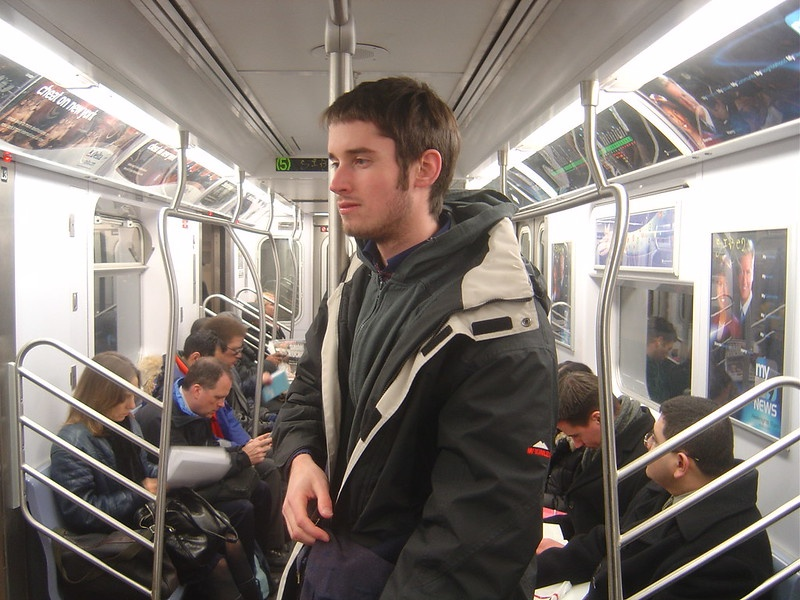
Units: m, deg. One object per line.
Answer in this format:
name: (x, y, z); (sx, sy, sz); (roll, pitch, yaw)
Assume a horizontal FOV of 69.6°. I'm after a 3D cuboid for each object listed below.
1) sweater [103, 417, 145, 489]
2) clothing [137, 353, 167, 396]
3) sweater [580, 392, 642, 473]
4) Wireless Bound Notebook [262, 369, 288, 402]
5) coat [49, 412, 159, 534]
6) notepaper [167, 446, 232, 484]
sweater: (-1.945, 1.122, 4.156); (0.280, 0.412, 0.171); (-15, -10, -9)
clothing: (-2.625, 0.756, 6.112); (0.143, 0.565, 0.602); (17, -25, -28)
sweater: (1.430, 0.896, 3.915); (0.373, 0.523, 0.507); (4, -2, 1)
Wireless Bound Notebook: (-1.201, 0.848, 5.622); (0.100, 0.391, 0.412); (19, -1, 1)
coat: (-2.110, 1.161, 4.189); (0.632, 0.901, 0.911); (-4, -9, -11)
notepaper: (-1.342, 1.096, 3.834); (0.385, 0.241, 0.145); (2, -2, -42)
